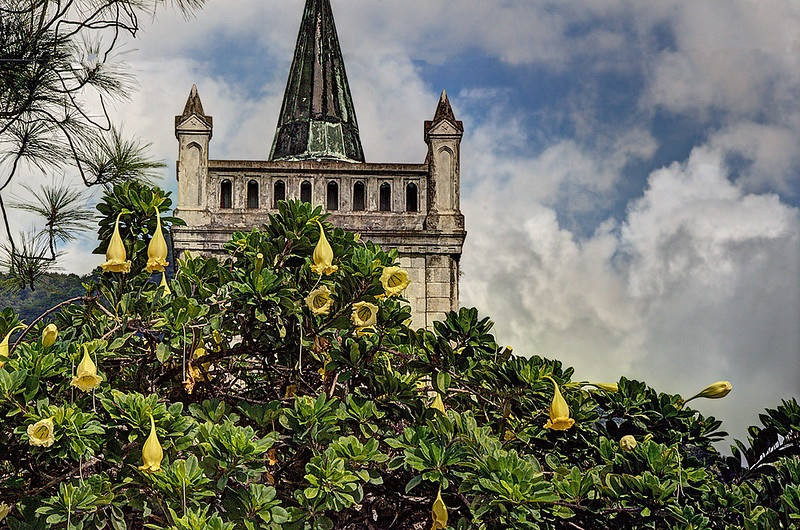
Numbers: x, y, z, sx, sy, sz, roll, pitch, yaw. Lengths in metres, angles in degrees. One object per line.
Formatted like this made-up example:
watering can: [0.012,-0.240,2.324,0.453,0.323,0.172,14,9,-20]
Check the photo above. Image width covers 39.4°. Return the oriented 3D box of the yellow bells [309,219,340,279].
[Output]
yellow bells: [-0.579,-0.130,8.853,0.211,0.440,0.268,5,-10,-9]

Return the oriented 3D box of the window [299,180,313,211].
window: [-2.063,-1.602,24.509,0.292,0.539,0.565,3,-10,5]

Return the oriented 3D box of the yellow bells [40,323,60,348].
yellow bells: [-2.724,0.562,8.617,0.107,0.196,0.180,7,-10,-18]

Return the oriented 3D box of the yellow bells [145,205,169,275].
yellow bells: [-1.937,-0.203,8.944,0.161,0.547,0.323,6,-10,-14]

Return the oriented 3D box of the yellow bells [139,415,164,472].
yellow bells: [-1.823,1.342,8.229,0.158,0.425,0.272,6,-10,-11]

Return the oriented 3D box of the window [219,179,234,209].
window: [-3.846,-1.538,24.579,0.272,0.657,0.150,5,-10,-11]

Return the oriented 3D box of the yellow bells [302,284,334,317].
yellow bells: [-0.633,0.299,8.793,0.228,0.214,0.107,-10,-23,1]

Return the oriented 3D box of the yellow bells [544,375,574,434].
yellow bells: [1.256,1.083,8.597,0.212,0.401,0.349,2,-10,6]

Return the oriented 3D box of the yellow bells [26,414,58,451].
yellow bells: [-2.645,1.253,8.110,0.178,0.213,0.105,2,-12,-4]

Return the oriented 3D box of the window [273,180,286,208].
window: [-2.629,-1.536,24.476,0.256,0.641,0.503,7,-10,-21]

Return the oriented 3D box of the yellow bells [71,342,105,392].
yellow bells: [-2.367,0.796,8.403,0.213,0.333,0.301,7,-10,-19]

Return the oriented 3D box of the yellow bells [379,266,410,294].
yellow bells: [-0.038,0.141,8.835,0.226,0.253,0.269,3,-10,0]

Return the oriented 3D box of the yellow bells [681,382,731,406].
yellow bells: [2.480,1.023,8.851,0.324,0.152,0.570,1,-9,11]
